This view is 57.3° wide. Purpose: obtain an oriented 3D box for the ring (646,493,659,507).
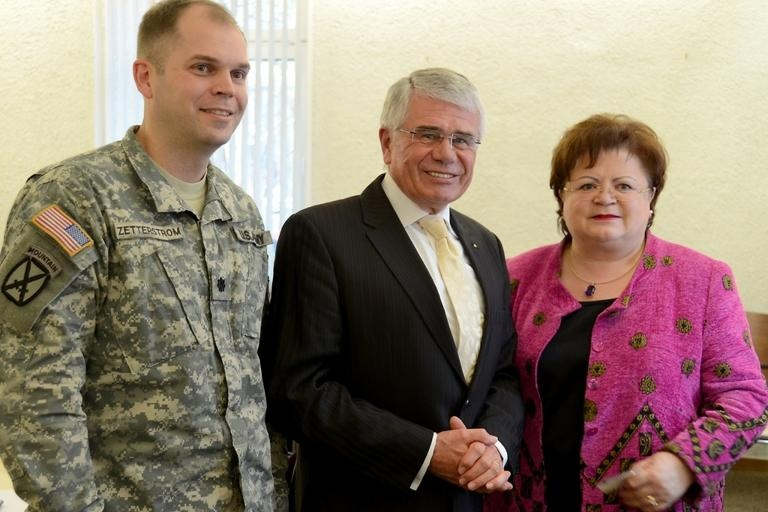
[{"bbox_3d":[1.000,0.912,2.631,0.044,0.027,0.011,48,-10,5],"label":"ring"}]
